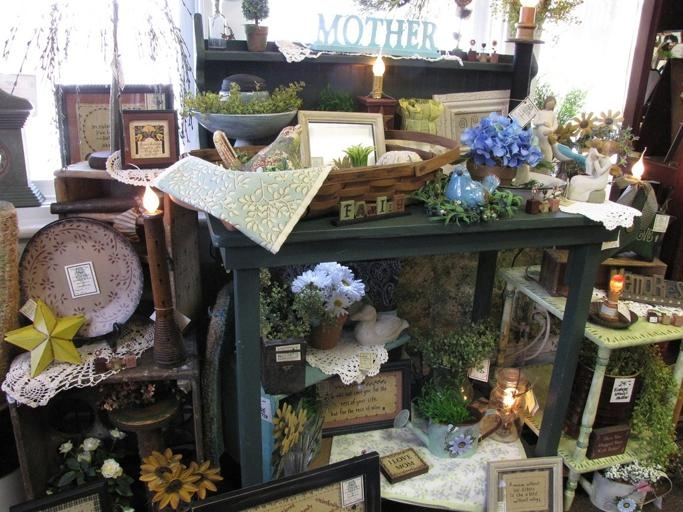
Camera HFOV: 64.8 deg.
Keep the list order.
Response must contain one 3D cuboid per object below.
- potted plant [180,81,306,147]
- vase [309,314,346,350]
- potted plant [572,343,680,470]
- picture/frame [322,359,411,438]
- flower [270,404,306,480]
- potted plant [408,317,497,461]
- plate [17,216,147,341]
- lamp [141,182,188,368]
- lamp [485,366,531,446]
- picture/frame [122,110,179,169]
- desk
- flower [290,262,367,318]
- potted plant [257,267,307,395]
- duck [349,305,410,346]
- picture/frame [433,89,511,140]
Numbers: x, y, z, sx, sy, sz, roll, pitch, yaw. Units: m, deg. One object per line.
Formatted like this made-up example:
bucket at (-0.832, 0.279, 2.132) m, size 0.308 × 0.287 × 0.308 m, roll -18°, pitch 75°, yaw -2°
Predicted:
potted plant at (-0.373, -0.518, 2.002) m, size 0.275 × 0.161 × 0.278 m, roll 9°, pitch 20°, yaw 30°
vase at (-0.052, 0.302, 2.097) m, size 0.133 × 0.106 × 0.145 m, roll 5°, pitch 22°, yaw 15°
potted plant at (1.164, 0.547, 2.370) m, size 0.452 × 0.505 × 0.442 m, roll 8°, pitch 14°, yaw 43°
picture/frame at (0.082, 0.596, 2.254) m, size 0.390 × 0.267 × 0.025 m, roll -4°, pitch 11°, yaw -13°
flower at (-0.195, 0.697, 2.012) m, size 0.156 × 0.259 × 0.065 m, roll 2°, pitch 6°, yaw -36°
potted plant at (0.459, 0.538, 2.335) m, size 0.519 × 0.564 × 0.364 m, roll 1°, pitch 15°, yaw 7°
plate at (-0.964, 0.074, 2.003) m, size 0.418 × 0.427 × 0.158 m, roll 5°, pitch 21°, yaw 8°
lamp at (-0.636, 0.064, 1.899) m, size 0.114 × 0.654 × 0.188 m, roll -8°, pitch 23°, yaw -23°
lamp at (0.741, 0.673, 2.389) m, size 0.161 × 0.296 × 0.166 m, roll 4°, pitch -7°, yaw 24°
picture/frame at (-0.717, -0.444, 2.003) m, size 0.251 × 0.269 × 0.027 m, roll -4°, pitch 11°, yaw -21°
desk at (0.186, -0.098, 2.199) m, size 1.359 × 1.358 × 1.010 m, roll -7°, pitch 29°, yaw -12°
flower at (-0.046, 0.126, 2.068) m, size 0.222 × 0.163 × 0.233 m, roll 19°, pitch 42°, yaw 24°
potted plant at (-0.224, 0.292, 1.969) m, size 0.203 × 0.406 × 0.211 m, roll -3°, pitch 4°, yaw -25°
duck at (0.155, 0.291, 2.188) m, size 0.208 × 0.142 × 0.135 m, roll -11°, pitch 16°, yaw -36°
picture/frame at (0.579, -0.653, 2.461) m, size 0.380 × 0.216 × 0.084 m, roll -6°, pitch 22°, yaw -18°
